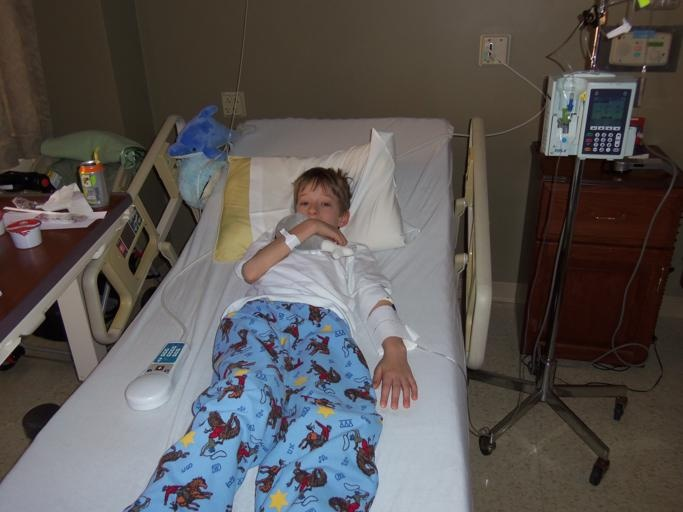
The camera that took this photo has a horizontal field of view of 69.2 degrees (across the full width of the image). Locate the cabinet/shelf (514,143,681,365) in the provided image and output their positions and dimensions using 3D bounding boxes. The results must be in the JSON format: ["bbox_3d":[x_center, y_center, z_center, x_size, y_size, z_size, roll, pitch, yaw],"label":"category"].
[{"bbox_3d":[1.151,0.050,2.281,0.576,0.946,0.506,5,26,10],"label":"cabinet/shelf"}]

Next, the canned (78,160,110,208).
[{"bbox_3d":[-0.962,-0.277,1.913,0.088,0.168,0.093,1,24,-5],"label":"canned"}]

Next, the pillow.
[{"bbox_3d":[-0.140,-0.247,2.152,0.650,0.608,0.301,-2,-12,5],"label":"pillow"}]

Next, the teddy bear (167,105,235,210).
[{"bbox_3d":[-0.672,-0.453,2.324,0.168,0.432,0.346,5,-21,43],"label":"teddy bear"}]

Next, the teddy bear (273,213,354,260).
[{"bbox_3d":[-0.090,-0.018,2.011,0.269,0.136,0.381,-2,-12,-1],"label":"teddy bear"}]
